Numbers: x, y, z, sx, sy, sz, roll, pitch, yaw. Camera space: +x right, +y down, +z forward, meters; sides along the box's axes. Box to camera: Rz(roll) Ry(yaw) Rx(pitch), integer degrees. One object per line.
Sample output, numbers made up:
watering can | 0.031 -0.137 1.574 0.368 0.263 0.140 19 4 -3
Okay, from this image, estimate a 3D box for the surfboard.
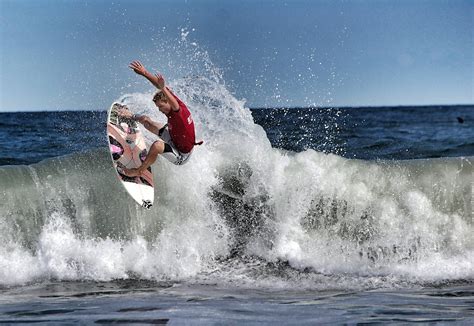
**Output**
surfboard | -2.566 -0.138 14.212 0.422 2.851 0.916 -23 -6 43
